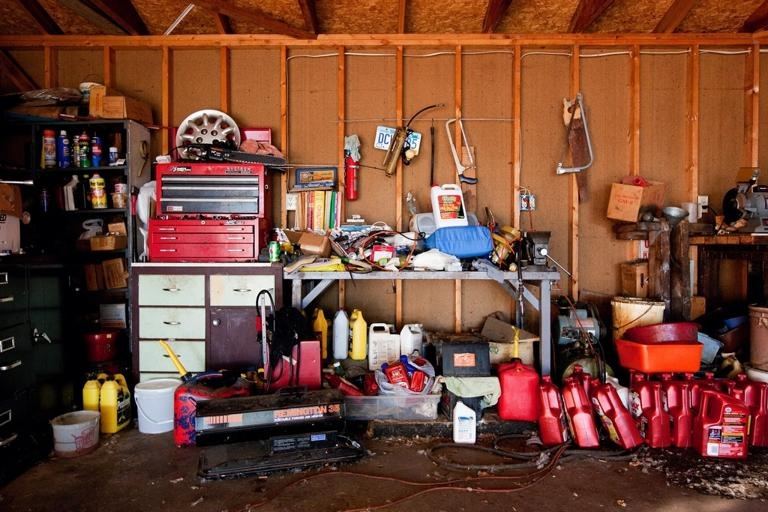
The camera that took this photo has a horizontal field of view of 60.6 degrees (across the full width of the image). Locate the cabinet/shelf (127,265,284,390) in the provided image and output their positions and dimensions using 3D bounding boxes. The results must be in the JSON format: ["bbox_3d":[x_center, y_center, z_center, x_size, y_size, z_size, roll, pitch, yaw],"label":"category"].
[{"bbox_3d":[-1.699,0.507,6.277,1.277,1.219,0.856,-1,2,-2],"label":"cabinet/shelf"}]

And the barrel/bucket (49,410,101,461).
[{"bbox_3d":[-2.518,1.442,5.373,0.319,0.338,0.309,1,9,0],"label":"barrel/bucket"}]

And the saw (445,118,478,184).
[{"bbox_3d":[0.756,-1.079,6.607,0.257,0.737,0.085,-17,-4,-4],"label":"saw"}]

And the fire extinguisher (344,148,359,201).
[{"bbox_3d":[-0.330,-0.810,6.547,0.148,0.499,0.092,-2,2,-3],"label":"fire extinguisher"}]

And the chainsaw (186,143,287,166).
[{"bbox_3d":[-1.414,-0.947,6.176,0.930,0.239,0.330,-3,3,-14],"label":"chainsaw"}]

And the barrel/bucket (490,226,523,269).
[{"bbox_3d":[1.085,-0.072,5.871,0.270,0.374,0.334,-2,2,8],"label":"barrel/bucket"}]

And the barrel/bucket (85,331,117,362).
[{"bbox_3d":[-2.550,0.820,6.061,0.268,0.262,0.263,2,4,0],"label":"barrel/bucket"}]

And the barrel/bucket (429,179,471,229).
[{"bbox_3d":[0.625,-0.464,5.990,0.363,0.399,0.315,-3,2,-11],"label":"barrel/bucket"}]

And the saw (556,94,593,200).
[{"bbox_3d":[1.884,-1.073,6.560,0.345,1.058,0.147,-2,2,13],"label":"saw"}]

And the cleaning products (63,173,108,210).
[{"bbox_3d":[-2.824,-0.601,6.212,0.404,0.368,0.214,0,-1,-2],"label":"cleaning products"}]

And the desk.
[{"bbox_3d":[0.744,0.476,6.803,2.623,0.924,0.826,2,5,-1],"label":"desk"}]

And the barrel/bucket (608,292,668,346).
[{"bbox_3d":[2.366,0.555,6.177,0.504,0.416,0.378,-1,13,4],"label":"barrel/bucket"}]
